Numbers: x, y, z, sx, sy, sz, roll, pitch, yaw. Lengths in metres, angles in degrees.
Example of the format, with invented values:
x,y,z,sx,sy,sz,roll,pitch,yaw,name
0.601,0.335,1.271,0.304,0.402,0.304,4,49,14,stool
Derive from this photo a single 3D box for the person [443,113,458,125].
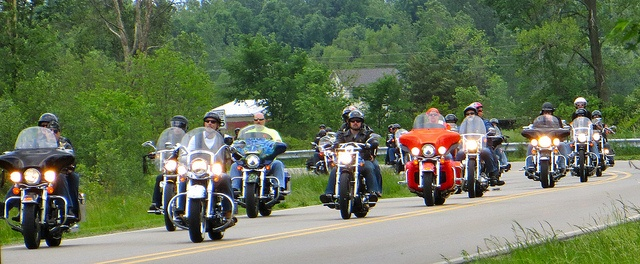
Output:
x,y,z,sx,sy,sz,roll,pitch,yaw,name
10.783,-1.106,57.795,1.025,0.821,0.968,-3,-4,7,person
